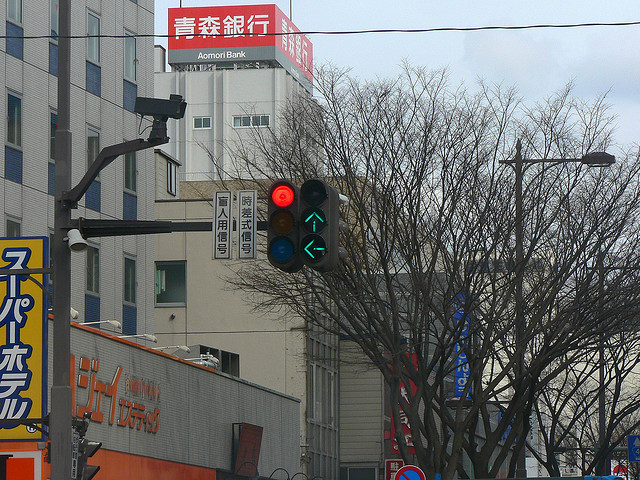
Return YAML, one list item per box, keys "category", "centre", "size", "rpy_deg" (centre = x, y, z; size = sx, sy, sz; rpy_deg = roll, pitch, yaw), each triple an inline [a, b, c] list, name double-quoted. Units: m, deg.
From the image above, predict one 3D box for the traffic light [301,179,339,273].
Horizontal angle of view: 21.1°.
- category: "traffic light"
  centre: [-0.010, -0.280, 34.083]
  size: [0.788, 1.685, 0.839]
  rpy_deg: [2, -22, 0]

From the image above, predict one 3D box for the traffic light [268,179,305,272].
- category: "traffic light"
  centre: [-0.676, -0.288, 34.210]
  size: [0.788, 1.730, 0.648]
  rpy_deg: [3, -22, -2]
